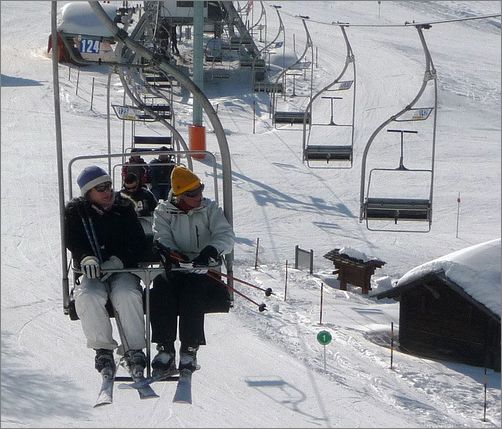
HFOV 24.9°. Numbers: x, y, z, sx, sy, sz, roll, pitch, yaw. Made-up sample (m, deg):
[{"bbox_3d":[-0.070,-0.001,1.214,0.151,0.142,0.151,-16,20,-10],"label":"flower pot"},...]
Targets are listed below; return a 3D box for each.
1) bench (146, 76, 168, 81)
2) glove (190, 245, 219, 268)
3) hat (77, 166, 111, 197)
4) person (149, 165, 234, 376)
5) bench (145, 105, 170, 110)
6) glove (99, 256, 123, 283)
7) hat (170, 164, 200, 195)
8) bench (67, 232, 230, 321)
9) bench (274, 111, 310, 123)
[{"bbox_3d":[-3.022,-4.213,35.912,0.699,0.147,1.693,-2,6,-5],"label":"bench"},{"bbox_3d":[-0.861,0.758,20.624,0.489,0.150,0.283,-23,42,-33],"label":"glove"},{"bbox_3d":[-2.952,-0.651,20.934,0.556,0.433,0.479,-37,0,34],"label":"hat"},{"bbox_3d":[-1.238,0.961,20.791,1.610,3.606,1.129,-8,9,-42],"label":"person"},{"bbox_3d":[-2.433,-2.733,29.586,0.515,0.163,1.871,-1,6,-3],"label":"bench"},{"bbox_3d":[-2.557,0.983,20.571,0.434,0.457,0.316,-2,7,-5],"label":"glove"},{"bbox_3d":[-1.306,-0.664,21.045,0.583,0.376,0.436,-22,13,-3],"label":"hat"},{"bbox_3d":[-1.479,1.299,21.180,2.887,1.248,1.448,0,-5,-14],"label":"bench"},{"bbox_3d":[1.056,-2.719,32.599,0.835,0.339,2.217,-1,6,2],"label":"bench"}]
